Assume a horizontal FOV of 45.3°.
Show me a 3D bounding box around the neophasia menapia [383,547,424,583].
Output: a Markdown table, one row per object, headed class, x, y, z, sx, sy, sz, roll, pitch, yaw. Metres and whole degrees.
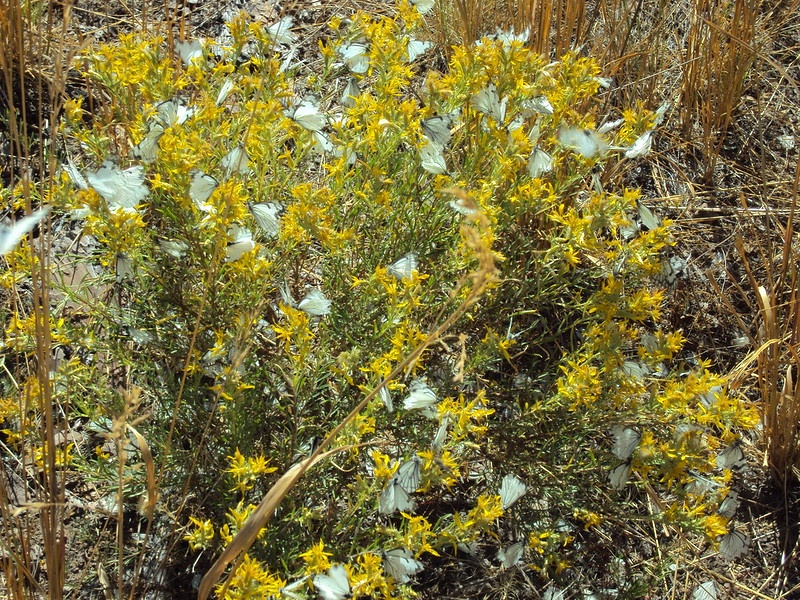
| class | x | y | z | sx | sy | sz | roll | pitch | yaw |
| --- | --- | --- | --- | --- | --- | --- | --- | --- | --- |
| neophasia menapia | 0.011 | 0.851 | 3.049 | 0.107 | 0.121 | 0.075 | 26 | 65 | 12 |
